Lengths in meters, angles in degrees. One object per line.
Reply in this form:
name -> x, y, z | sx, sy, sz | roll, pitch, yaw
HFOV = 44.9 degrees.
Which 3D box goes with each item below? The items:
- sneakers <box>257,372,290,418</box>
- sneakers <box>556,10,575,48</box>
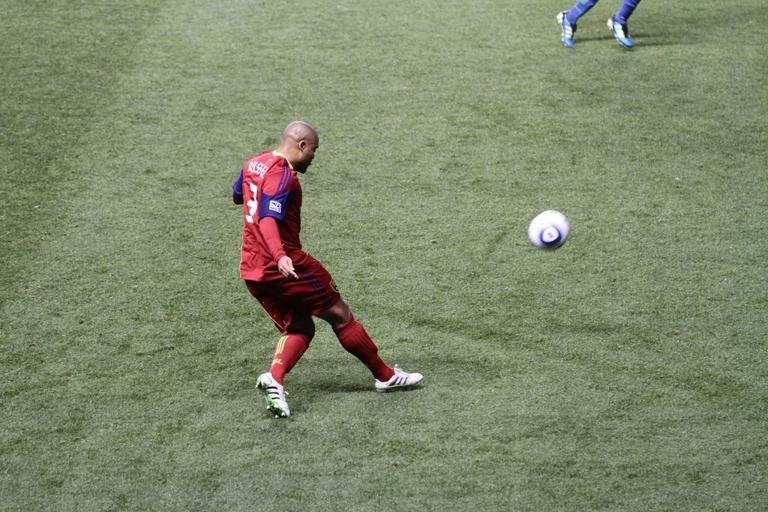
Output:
sneakers -> -0.983, 1.236, 8.098 | 0.183, 0.126, 0.353 | -28, 83, -40
sneakers -> 2.323, -2.913, 11.880 | 0.174, 0.525, 0.230 | -19, 13, -26
